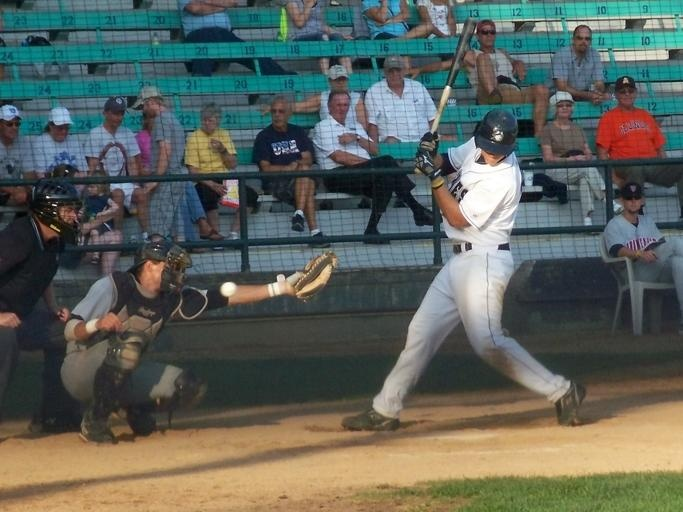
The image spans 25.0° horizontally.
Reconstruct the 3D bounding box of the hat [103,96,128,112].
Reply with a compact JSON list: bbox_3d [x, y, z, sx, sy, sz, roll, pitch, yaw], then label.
[{"bbox_3d":[-2.294,-1.542,15.516,0.152,0.102,0.201,-3,4,-30],"label":"hat"}]

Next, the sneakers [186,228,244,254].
[{"bbox_3d":[-1.249,-0.146,15.269,0.612,0.189,0.187,-1,10,-2],"label":"sneakers"}]

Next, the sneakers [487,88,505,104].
[{"bbox_3d":[1.672,-1.717,16.557,0.164,0.147,0.118,6,-9,-3],"label":"sneakers"}]

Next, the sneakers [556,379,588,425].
[{"bbox_3d":[1.907,1.219,12.831,0.209,0.428,0.164,6,19,-8],"label":"sneakers"}]

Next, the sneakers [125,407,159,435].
[{"bbox_3d":[-1.676,1.362,12.897,0.230,0.223,0.251,-15,13,-30],"label":"sneakers"}]

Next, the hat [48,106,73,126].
[{"bbox_3d":[-2.842,-1.426,15.486,0.178,0.118,0.235,-1,6,-27],"label":"hat"}]

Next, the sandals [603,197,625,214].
[{"bbox_3d":[2.802,-0.535,15.836,0.170,0.188,0.214,2,-9,-12],"label":"sandals"}]

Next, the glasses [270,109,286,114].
[{"bbox_3d":[-0.634,-1.484,15.660,0.097,0.059,0.121,-1,1,6],"label":"glasses"}]

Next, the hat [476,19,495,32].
[{"bbox_3d":[1.562,-2.489,16.597,0.147,0.159,0.180,9,10,-1],"label":"hat"}]

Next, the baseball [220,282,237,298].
[{"bbox_3d":[-0.930,0.265,12.763,0.139,0.130,0.194,-1,10,-4],"label":"baseball"}]

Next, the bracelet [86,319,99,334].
[{"bbox_3d":[-2.024,0.559,12.549,0.116,0.123,0.060,0,11,1],"label":"bracelet"}]

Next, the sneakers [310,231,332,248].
[{"bbox_3d":[-0.216,-0.153,15.121,0.111,0.103,0.264,2,6,17],"label":"sneakers"}]

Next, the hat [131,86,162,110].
[{"bbox_3d":[-2.014,-1.628,15.822,0.332,0.183,0.221,-3,5,8],"label":"hat"}]

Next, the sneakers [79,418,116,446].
[{"bbox_3d":[-2.011,1.429,12.688,0.343,0.196,0.161,1,3,-3],"label":"sneakers"}]

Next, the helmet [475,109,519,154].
[{"bbox_3d":[1.300,-1.027,12.860,0.333,0.380,0.202,19,-30,1],"label":"helmet"}]

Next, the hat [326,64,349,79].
[{"bbox_3d":[-0.038,-1.961,16.256,0.151,0.103,0.191,-2,0,-10],"label":"hat"}]

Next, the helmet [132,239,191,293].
[{"bbox_3d":[-1.446,0.056,12.817,0.517,0.389,0.373,13,10,-7],"label":"helmet"}]

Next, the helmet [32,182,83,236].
[{"bbox_3d":[-2.360,-0.450,12.863,0.485,0.397,0.388,12,16,-14],"label":"helmet"}]

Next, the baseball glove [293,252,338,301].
[{"bbox_3d":[-0.164,0.176,12.716,0.319,0.394,0.109,42,-3,22],"label":"baseball glove"}]

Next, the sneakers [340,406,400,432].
[{"bbox_3d":[0.256,1.363,13.020,0.534,0.186,0.179,4,5,0],"label":"sneakers"}]

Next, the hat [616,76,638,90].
[{"bbox_3d":[2.976,-1.824,16.109,0.194,0.119,0.244,1,10,8],"label":"hat"}]

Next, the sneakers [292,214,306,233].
[{"bbox_3d":[-0.424,-0.348,15.437,0.129,0.199,0.087,0,11,0],"label":"sneakers"}]

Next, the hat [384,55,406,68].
[{"bbox_3d":[0.573,-2.050,16.197,0.213,0.139,0.161,-1,10,-5],"label":"hat"}]

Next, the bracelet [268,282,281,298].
[{"bbox_3d":[-0.555,0.268,12.612,0.123,0.085,0.110,-6,9,-23],"label":"bracelet"}]

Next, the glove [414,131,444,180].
[{"bbox_3d":[0.713,-0.812,12.952,0.272,0.391,0.162,24,-39,-15],"label":"glove"}]
